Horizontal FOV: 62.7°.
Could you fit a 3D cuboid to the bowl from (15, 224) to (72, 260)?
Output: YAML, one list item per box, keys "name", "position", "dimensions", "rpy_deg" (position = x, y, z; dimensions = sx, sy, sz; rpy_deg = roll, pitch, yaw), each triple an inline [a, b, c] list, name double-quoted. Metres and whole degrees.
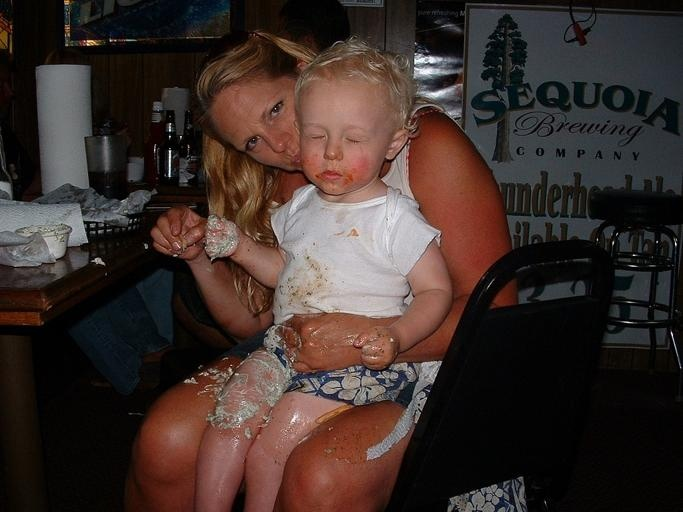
- name: "bowl"
  position: [-0.706, -0.032, 1.338]
  dimensions: [0.115, 0.070, 0.116]
  rpy_deg: [6, 14, -2]

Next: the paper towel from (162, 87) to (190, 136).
- name: "paper towel"
  position: [-0.884, -0.759, 2.963]
  dimensions: [0.149, 0.269, 0.153]
  rpy_deg: [15, 19, 42]

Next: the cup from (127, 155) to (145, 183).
- name: "cup"
  position: [-0.993, -0.414, 2.702]
  dimensions: [0.103, 0.123, 0.123]
  rpy_deg: [0, 7, -7]
